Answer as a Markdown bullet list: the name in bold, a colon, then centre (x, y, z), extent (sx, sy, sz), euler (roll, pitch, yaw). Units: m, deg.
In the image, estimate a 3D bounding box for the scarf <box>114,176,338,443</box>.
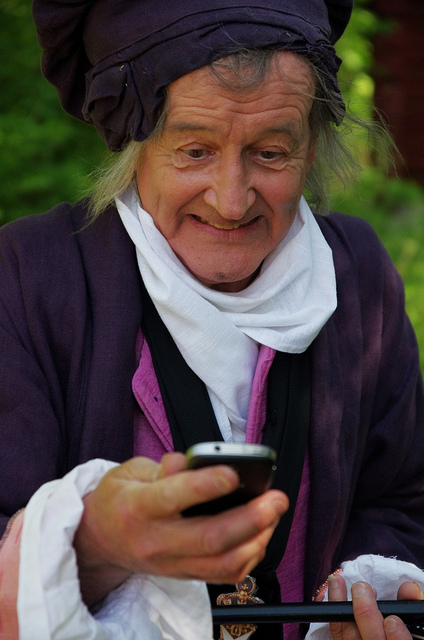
- **scarf**: centre (0.109, -0.067, 1.699), extent (0.537, 0.547, 0.473), euler (-14, 35, -14)
